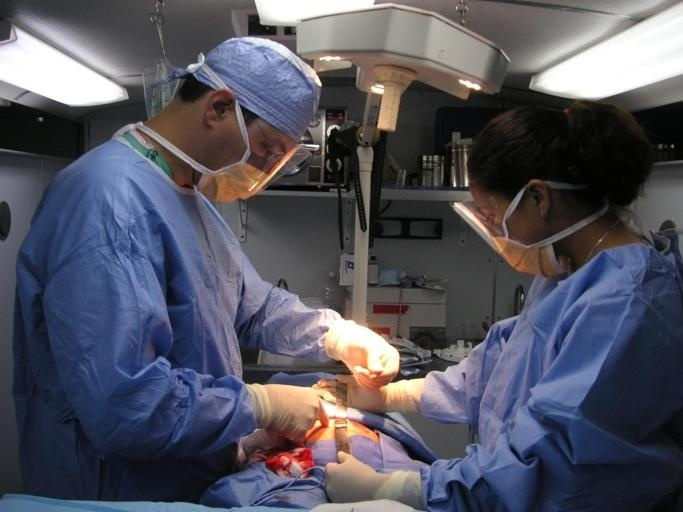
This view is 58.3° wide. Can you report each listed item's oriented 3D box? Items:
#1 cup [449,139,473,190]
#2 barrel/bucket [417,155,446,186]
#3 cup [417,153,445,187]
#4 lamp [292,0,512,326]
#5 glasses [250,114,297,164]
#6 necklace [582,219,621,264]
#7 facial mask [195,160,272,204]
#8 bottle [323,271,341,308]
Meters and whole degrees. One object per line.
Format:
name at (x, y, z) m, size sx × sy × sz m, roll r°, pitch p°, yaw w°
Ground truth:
cup at (0.687, -0.506, 3.431) m, size 0.138 × 0.266 × 0.146 m, roll 5°, pitch 3°, yaw 0°
barrel/bucket at (0.524, -0.499, 3.561) m, size 0.152 × 0.189 × 0.159 m, roll -1°, pitch 16°, yaw 0°
cup at (0.523, -0.503, 3.561) m, size 0.153 × 0.192 × 0.167 m, roll 0°, pitch 18°, yaw 0°
lamp at (0.257, -0.307, 2.087) m, size 0.635 × 0.965 × 0.549 m, roll 9°, pitch -4°, yaw -44°
glasses at (-0.248, -0.400, 2.139) m, size 0.138 × 0.079 × 0.139 m, roll -36°, pitch -23°, yaw 24°
necklace at (0.828, -0.052, 1.952) m, size 0.021 × 0.167 × 0.025 m, roll 0°, pitch 39°, yaw -41°
facial mask at (-0.389, -0.262, 2.224) m, size 0.176 × 0.097 × 0.149 m, roll -17°, pitch -6°, yaw 18°
bottle at (-0.052, 0.177, 3.942) m, size 0.090 × 0.176 × 0.097 m, roll -6°, pitch 29°, yaw 3°
